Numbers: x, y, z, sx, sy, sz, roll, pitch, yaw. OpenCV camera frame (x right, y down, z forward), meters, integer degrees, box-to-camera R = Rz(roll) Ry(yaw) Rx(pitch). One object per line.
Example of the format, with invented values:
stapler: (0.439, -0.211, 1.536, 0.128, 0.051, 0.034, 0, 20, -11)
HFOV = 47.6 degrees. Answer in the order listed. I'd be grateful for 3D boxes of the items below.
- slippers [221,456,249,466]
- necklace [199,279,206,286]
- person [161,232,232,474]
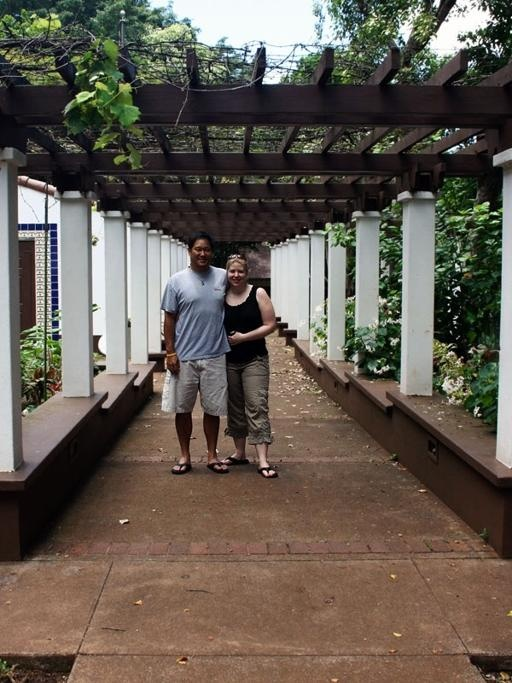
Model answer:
slippers: (-0.157, 0.908, 4.416, 0.183, 0.050, 0.068, 2, -3, -13)
necklace: (-0.383, -0.413, 4.087, 0.039, 0.049, 0.024, 0, 2, -30)
person: (-0.435, 0.108, 4.145, 0.467, 1.691, 0.260, 0, 2, -6)
